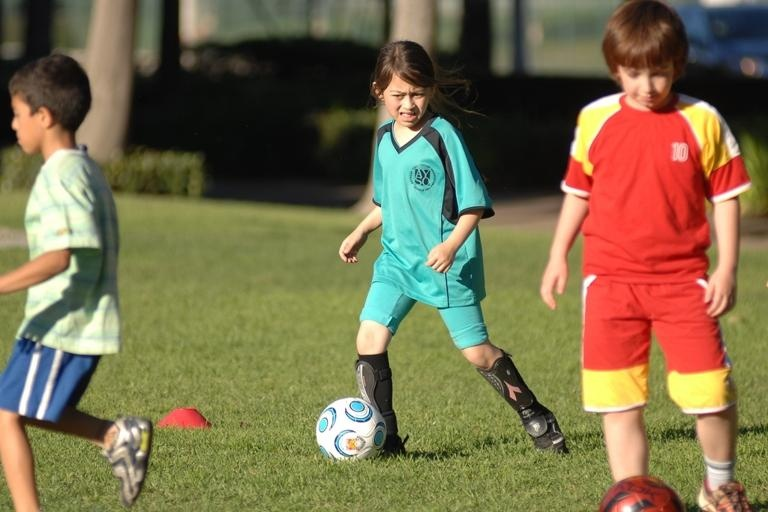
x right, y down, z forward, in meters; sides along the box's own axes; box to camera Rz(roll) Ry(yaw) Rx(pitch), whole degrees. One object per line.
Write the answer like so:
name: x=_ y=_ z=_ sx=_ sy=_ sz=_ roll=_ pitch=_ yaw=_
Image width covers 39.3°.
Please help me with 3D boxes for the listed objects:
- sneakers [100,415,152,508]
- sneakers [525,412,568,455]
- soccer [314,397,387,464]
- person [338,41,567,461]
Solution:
sneakers: x=-1.231 y=0.942 z=5.166 sx=0.218 sy=0.512 sz=0.171 roll=3 pitch=20 yaw=3
sneakers: x=0.909 y=1.004 z=6.127 sx=0.186 sy=0.254 sz=0.111 roll=-25 pitch=0 yaw=14
soccer: x=-0.210 y=0.951 z=6.174 sx=0.398 sy=0.405 sz=0.403 roll=-6 pitch=45 yaw=-3
person: x=0.312 y=-0.034 z=6.013 sx=1.123 sy=2.287 sz=0.624 roll=1 pitch=10 yaw=-3
